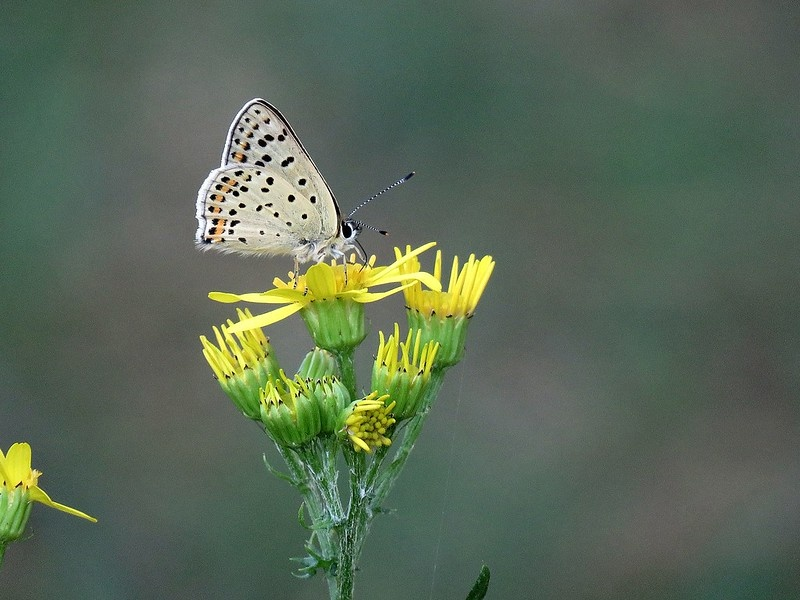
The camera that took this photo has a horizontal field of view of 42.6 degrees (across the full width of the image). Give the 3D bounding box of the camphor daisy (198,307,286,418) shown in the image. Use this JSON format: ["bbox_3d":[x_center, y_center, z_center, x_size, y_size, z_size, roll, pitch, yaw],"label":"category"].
[{"bbox_3d":[-0.505,0.226,3.439,0.210,0.395,0.255,-28,-5,12],"label":"camphor daisy"}]

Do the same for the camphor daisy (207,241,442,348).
[{"bbox_3d":[-0.223,0.011,3.720,0.716,0.362,0.884,-3,8,40],"label":"camphor daisy"}]

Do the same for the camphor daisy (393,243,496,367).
[{"bbox_3d":[0.128,0.059,3.792,0.354,0.472,0.395,1,-1,5],"label":"camphor daisy"}]
